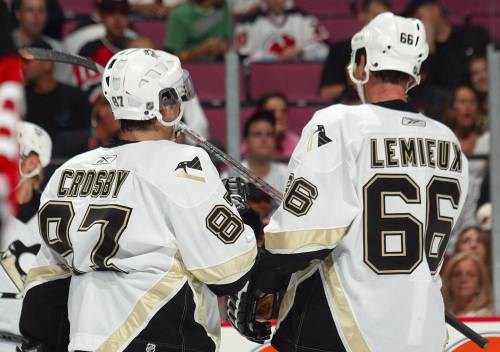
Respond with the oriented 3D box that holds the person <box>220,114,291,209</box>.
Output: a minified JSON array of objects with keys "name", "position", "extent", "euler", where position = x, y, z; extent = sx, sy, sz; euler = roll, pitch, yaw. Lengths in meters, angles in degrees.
[{"name":"person","position":[0.026,-0.113,11.570],"extent":[0.846,0.806,0.432],"euler":[5,-5,-18]}]

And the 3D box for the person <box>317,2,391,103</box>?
[{"name":"person","position":[0.955,-1.202,12.754],"extent":[0.948,0.927,0.348],"euler":[6,11,4]}]

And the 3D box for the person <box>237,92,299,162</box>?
[{"name":"person","position":[0.132,-0.456,12.465],"extent":[0.720,0.456,0.321],"euler":[-4,2,-36]}]
